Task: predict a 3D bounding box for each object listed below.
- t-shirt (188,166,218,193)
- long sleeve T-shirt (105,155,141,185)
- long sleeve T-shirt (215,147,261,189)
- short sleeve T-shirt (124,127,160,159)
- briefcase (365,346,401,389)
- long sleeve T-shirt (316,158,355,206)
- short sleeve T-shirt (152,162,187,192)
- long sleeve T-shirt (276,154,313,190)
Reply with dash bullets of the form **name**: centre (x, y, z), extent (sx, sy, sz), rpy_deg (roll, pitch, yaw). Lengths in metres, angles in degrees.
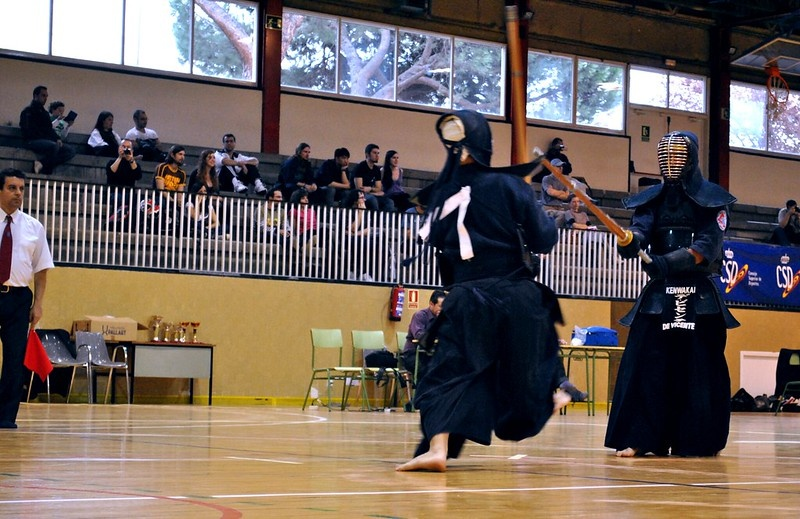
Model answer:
- **t-shirt**: centre (-3.551, -1.429, 29.477), extent (0.600, 0.514, 0.319), rpy_deg (3, -9, -33)
- **long sleeve T-shirt**: centre (-4.945, -1.509, 29.199), extent (0.498, 0.573, 0.593), rpy_deg (3, -30, -17)
- **long sleeve T-shirt**: centre (-3.019, -1.645, 30.438), extent (0.593, 0.504, 0.945), rpy_deg (4, -3, -31)
- **short sleeve T-shirt**: centre (-4.856, -2.163, 30.787), extent (0.567, 0.281, 0.717), rpy_deg (6, 32, -28)
- **briefcase**: centre (-0.222, 1.924, 28.793), extent (0.646, 0.675, 0.599), rpy_deg (-2, -3, -7)
- **long sleeve T-shirt**: centre (-1.238, -1.456, 30.914), extent (0.754, 1.148, 0.654), rpy_deg (7, 8, -6)
- **short sleeve T-shirt**: centre (-4.174, -1.469, 29.395), extent (0.585, 0.585, 0.384), rpy_deg (9, -18, -36)
- **long sleeve T-shirt**: centre (-1.918, -1.580, 30.834), extent (0.769, 0.760, 0.732), rpy_deg (4, 7, -7)
